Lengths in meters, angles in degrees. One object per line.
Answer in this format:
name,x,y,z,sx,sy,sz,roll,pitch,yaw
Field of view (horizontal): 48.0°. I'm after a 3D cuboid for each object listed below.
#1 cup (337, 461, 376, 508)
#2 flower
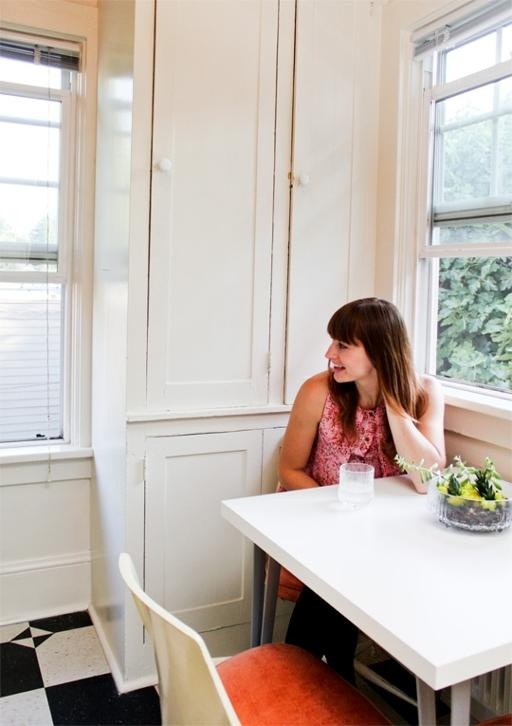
cup,0.218,0.263,1.267,0.084,0.094,0.089,1,6,0
flower,0.415,0.242,1.209,0.184,0.084,0.138,8,-12,23
